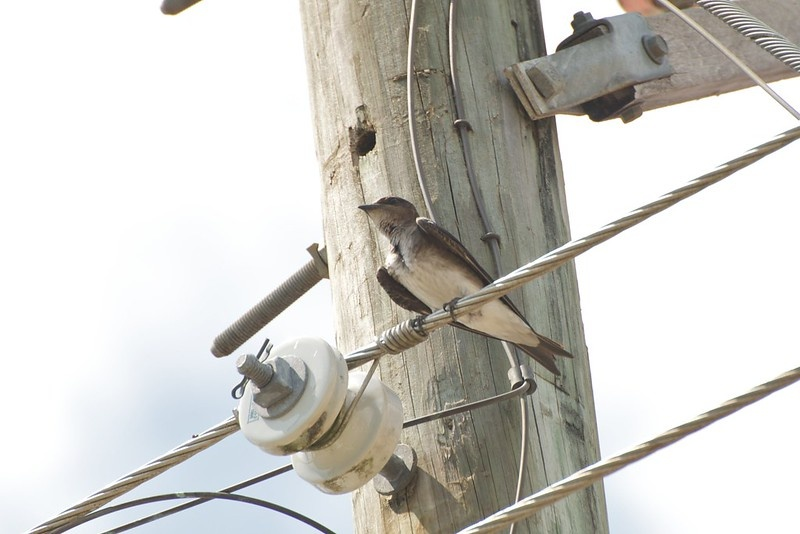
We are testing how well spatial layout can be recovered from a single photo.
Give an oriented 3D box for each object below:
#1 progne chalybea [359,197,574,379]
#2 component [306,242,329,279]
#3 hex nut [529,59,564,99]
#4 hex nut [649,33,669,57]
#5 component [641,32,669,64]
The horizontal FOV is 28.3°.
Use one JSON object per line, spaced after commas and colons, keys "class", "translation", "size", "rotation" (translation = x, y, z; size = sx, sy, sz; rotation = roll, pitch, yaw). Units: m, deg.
{"class": "progne chalybea", "translation": [0.284, 0.107, 7.285], "size": [0.809, 0.350, 0.303], "rotation": [33, -46, 2]}
{"class": "component", "translation": [-0.388, -0.033, 7.569], "size": [0.062, 0.127, 0.218], "rotation": [12, -28, 4]}
{"class": "hex nut", "translation": [0.711, -0.911, 7.663], "size": [0.042, 0.146, 0.158], "rotation": [-32, -72, 11]}
{"class": "hex nut", "translation": [1.270, -1.086, 7.830], "size": [0.069, 0.098, 0.096], "rotation": [-12, -32, 35]}
{"class": "component", "translation": [1.249, -1.075, 7.871], "size": [0.122, 0.135, 0.133], "rotation": [21, -27, 10]}
